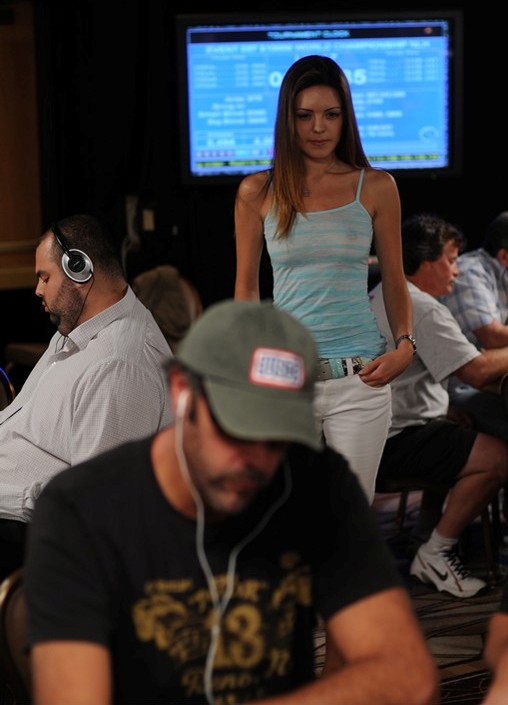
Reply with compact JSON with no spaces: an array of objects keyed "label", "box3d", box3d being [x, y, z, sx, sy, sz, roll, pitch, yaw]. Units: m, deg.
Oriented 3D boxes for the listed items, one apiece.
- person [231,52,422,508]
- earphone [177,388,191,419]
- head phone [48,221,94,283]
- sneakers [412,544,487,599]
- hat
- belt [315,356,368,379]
[{"label":"person","box3d":[0.185,0.063,1.953,0.496,1.603,0.489,-2,11,1]},{"label":"earphone","box3d":[-0.072,0.052,0.708,0.010,0.026,0.020,13,8,16]},{"label":"head phone","box3d":[-0.460,-0.242,1.755,0.059,0.128,0.137,-35,-9,-4]},{"label":"sneakers","box3d":[0.726,0.809,2.729,0.306,0.188,0.124,11,14,26]},{"label":"hat","box3d":[0.007,0.000,0.729,0.149,0.093,0.183,-5,37,-35]},{"label":"belt","box3d":[0.231,0.047,1.801,0.087,0.030,0.063,-7,-3,-8]}]
